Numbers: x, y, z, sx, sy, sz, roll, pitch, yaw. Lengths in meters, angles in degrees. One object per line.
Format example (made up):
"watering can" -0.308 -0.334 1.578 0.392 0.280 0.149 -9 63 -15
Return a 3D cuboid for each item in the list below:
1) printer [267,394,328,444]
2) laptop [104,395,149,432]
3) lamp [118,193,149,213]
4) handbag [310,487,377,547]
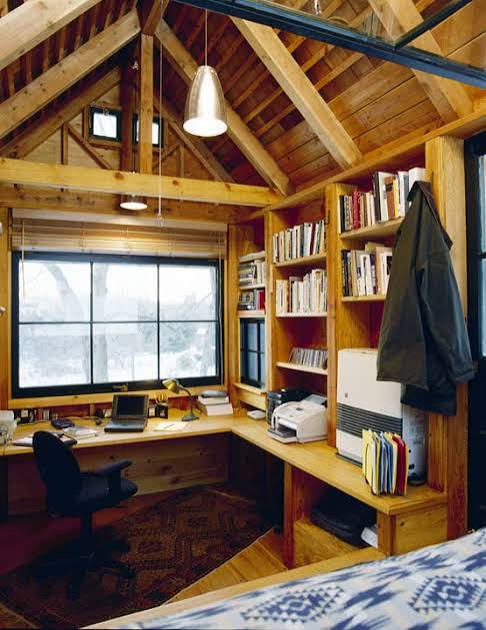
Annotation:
"printer" 0.340 0.647 3.267 0.332 0.197 0.236 1 -3 -33
"laptop" -0.844 0.717 3.857 0.234 0.157 0.225 0 0 4
"lamp" -0.775 -0.780 3.692 0.214 0.134 0.205 0 -2 6
"handbag" 0.504 1.046 2.784 0.221 0.236 0.518 -1 1 -19
